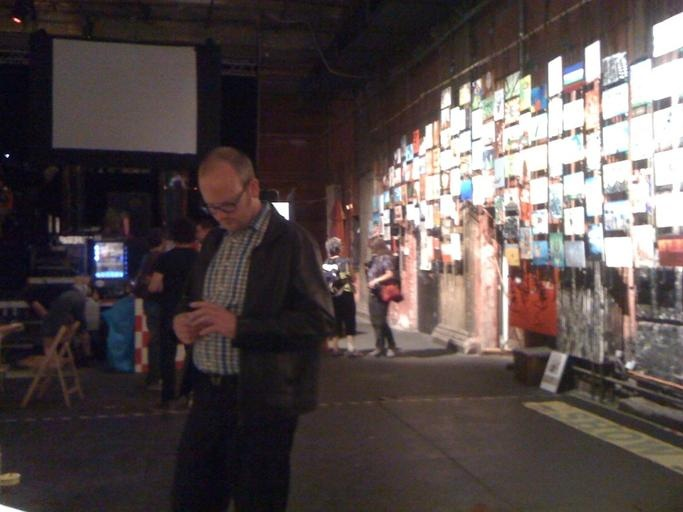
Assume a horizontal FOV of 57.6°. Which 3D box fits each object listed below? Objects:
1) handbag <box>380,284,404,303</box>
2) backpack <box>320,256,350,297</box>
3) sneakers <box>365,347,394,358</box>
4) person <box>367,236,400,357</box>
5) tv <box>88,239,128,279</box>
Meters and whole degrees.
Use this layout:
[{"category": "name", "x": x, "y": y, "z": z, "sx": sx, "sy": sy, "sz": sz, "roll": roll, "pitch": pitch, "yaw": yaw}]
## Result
[{"category": "handbag", "x": 0.847, "y": 0.605, "z": 10.056, "sx": 0.334, "sy": 0.302, "sz": 0.251, "roll": -26, "pitch": 45, "yaw": -38}, {"category": "backpack", "x": -0.097, "y": 0.306, "z": 10.272, "sx": 0.356, "sy": 0.682, "sz": 0.502, "roll": -1, "pitch": 0, "yaw": -41}, {"category": "sneakers", "x": 0.660, "y": 1.582, "z": 10.258, "sx": 0.472, "sy": 0.223, "sz": 0.168, "roll": 3, "pitch": 0, "yaw": -7}, {"category": "person", "x": 0.700, "y": 0.648, "z": 10.313, "sx": 0.484, "sy": 1.958, "sz": 0.726, "roll": 0, "pitch": 2, "yaw": 2}, {"category": "tv", "x": -4.133, "y": 0.031, "z": 11.122, "sx": 0.654, "sy": 0.670, "sz": 0.538, "roll": 0, "pitch": 9, "yaw": -15}]
